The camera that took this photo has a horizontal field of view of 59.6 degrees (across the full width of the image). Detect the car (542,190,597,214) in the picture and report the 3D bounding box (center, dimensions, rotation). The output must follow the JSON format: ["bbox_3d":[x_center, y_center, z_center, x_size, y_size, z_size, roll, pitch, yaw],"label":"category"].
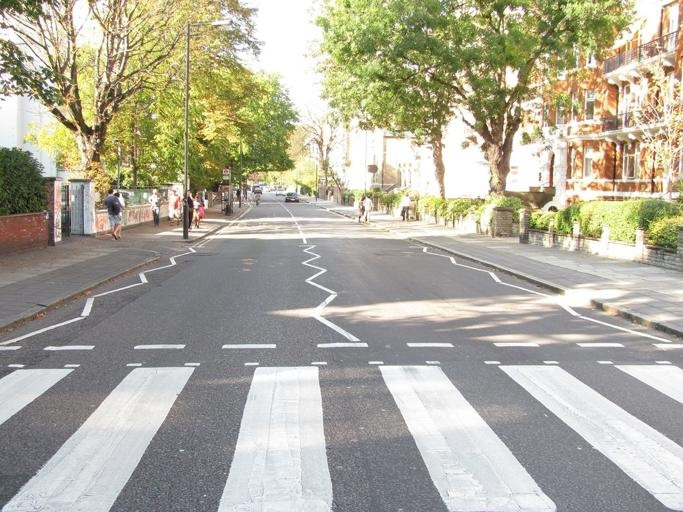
[{"bbox_3d":[13.332,-3.129,34.871,3.732,1.150,2.440,-4,12,3],"label":"car"}]
